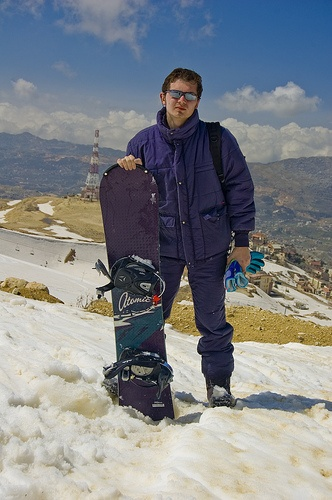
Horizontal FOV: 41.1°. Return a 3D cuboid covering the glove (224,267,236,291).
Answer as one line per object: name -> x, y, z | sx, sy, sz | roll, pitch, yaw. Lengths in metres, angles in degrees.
glove -> 0.443, 0.207, 3.105 | 0.063, 0.163, 0.074 | 1, -4, 0

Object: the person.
person -> 0.171, -0.056, 3.193 | 1.177, 2.152, 0.420 | 13, -3, -12

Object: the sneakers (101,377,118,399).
sneakers -> -0.386, 0.977, 3.152 | 0.088, 0.133, 0.036 | -13, -4, -4

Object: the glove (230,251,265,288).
glove -> 0.639, 0.092, 3.253 | 0.126, 0.320, 0.210 | 19, -31, 12
